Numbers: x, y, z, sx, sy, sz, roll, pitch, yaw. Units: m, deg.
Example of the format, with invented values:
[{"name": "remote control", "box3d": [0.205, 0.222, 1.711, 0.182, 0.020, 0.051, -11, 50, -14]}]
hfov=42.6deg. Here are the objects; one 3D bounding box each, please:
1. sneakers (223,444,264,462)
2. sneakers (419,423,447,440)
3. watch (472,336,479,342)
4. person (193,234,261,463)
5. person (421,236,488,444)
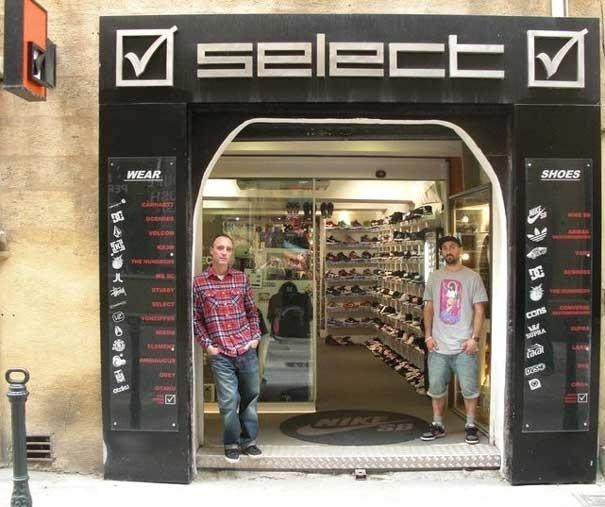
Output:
[{"name": "sneakers", "box3d": [-0.521, 1.996, 7.015, 0.303, 0.130, 0.149, -3, -2, -16]}, {"name": "sneakers", "box3d": [1.258, 1.949, 7.567, 0.332, 0.145, 0.112, 6, -11, -32]}, {"name": "watch", "box3d": [1.639, 0.947, 7.396, 0.058, 0.039, 0.077, 1, -9, 2]}, {"name": "person", "box3d": [-0.671, 0.986, 7.118, 0.765, 2.209, 0.435, 5, 0, -9]}, {"name": "person", "box3d": [1.455, 0.969, 7.541, 0.667, 2.173, 0.407, 5, 0, 17]}]
